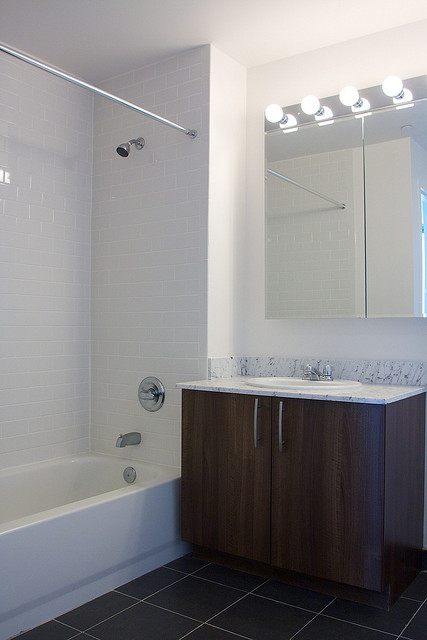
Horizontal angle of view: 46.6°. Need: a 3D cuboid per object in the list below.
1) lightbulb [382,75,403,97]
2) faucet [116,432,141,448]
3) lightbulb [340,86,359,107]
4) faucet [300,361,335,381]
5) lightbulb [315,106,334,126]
[{"bbox_3d":[0.764,-1.014,2.141,0.056,0.082,0.087,-16,23,10],"label":"lightbulb"},{"bbox_3d":[-0.451,0.655,2.660,0.047,0.096,0.187,-8,-13,29],"label":"faucet"},{"bbox_3d":[0.614,-1.011,2.236,0.059,0.083,0.080,-31,20,-19],"label":"lightbulb"},{"bbox_3d":[0.502,0.254,2.429,0.168,0.100,0.066,1,-2,41],"label":"faucet"},{"bbox_3d":[0.538,-0.989,2.417,0.053,0.076,0.073,4,-25,-26],"label":"lightbulb"}]
